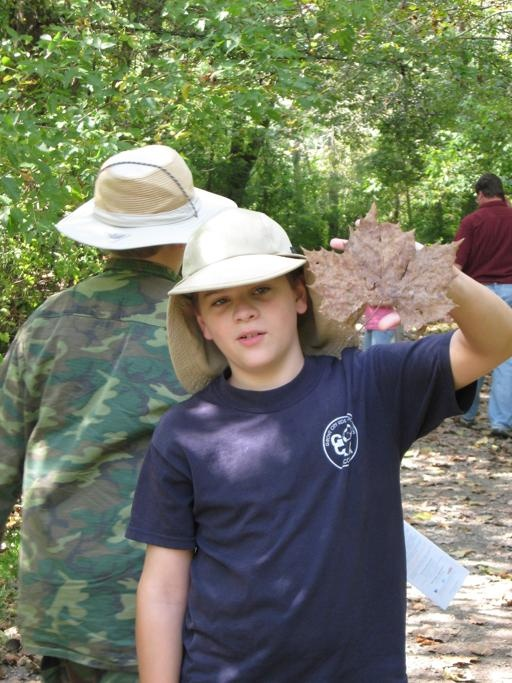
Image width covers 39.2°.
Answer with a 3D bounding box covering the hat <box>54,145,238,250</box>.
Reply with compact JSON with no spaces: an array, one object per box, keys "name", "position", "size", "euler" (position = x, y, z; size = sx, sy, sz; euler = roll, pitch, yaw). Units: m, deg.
[{"name":"hat","position":[-0.346,-0.439,2.001],"size":[0.477,0.163,0.416],"euler":[-16,31,-13]}]
